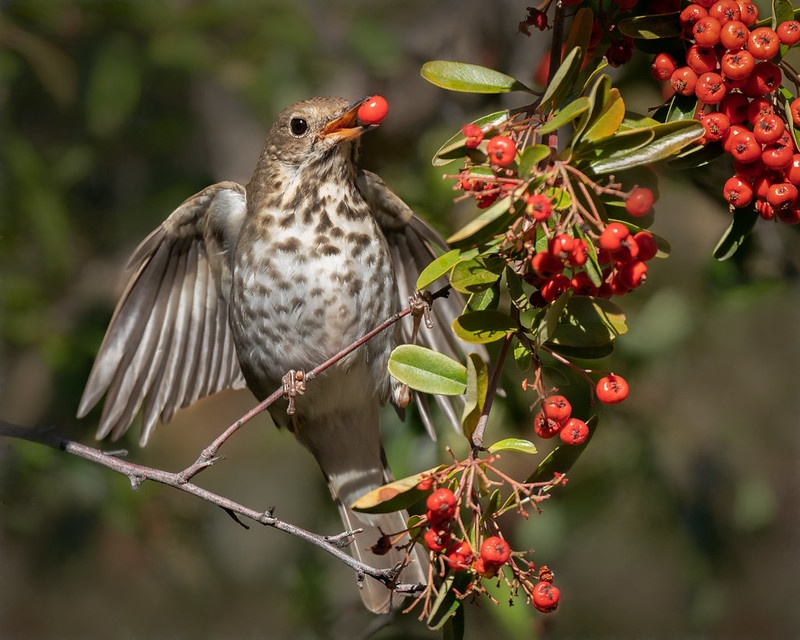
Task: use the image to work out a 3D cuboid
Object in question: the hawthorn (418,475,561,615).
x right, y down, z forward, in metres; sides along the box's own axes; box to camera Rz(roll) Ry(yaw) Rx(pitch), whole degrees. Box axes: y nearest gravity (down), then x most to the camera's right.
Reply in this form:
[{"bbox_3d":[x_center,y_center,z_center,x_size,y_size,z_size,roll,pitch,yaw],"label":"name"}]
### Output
[{"bbox_3d":[0.331,0.840,3.814,0.471,1.777,0.486,-8,73,3],"label":"hawthorn"}]
